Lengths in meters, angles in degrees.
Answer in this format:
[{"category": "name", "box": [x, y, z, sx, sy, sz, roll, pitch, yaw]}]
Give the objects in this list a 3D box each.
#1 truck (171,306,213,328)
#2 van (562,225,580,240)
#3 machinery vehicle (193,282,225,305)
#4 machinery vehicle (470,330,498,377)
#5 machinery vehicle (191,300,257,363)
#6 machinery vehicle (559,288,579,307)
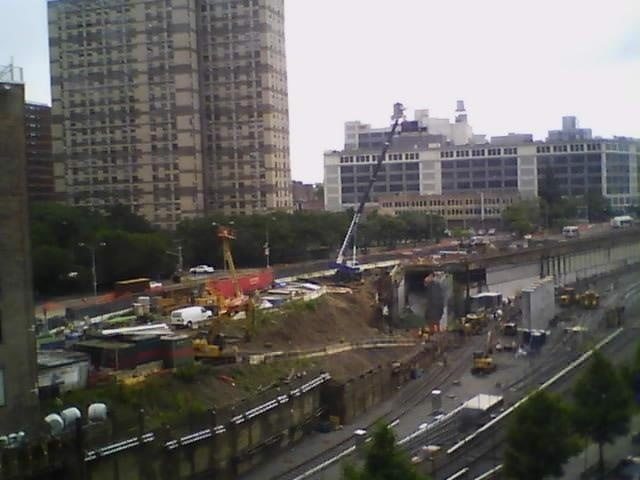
[{"category": "truck", "box": [-10.638, 6.425, 78.228, 1.476, 1.136, 2.940, 7, 13, 42]}, {"category": "van", "box": [31.908, -0.788, 120.007, 1.479, 1.397, 2.433, 3, 14, 25]}, {"category": "machinery vehicle", "box": [-9.362, 4.800, 81.410, 1.562, 1.464, 2.694, -1, -1, 7]}, {"category": "machinery vehicle", "box": [14.129, 9.504, 80.916, 1.295, 2.316, 4.461, 4, 19, 19]}, {"category": "machinery vehicle", "box": [-8.298, 8.028, 73.389, 4.010, 4.748, 4.061, -3, 3, 13]}, {"category": "machinery vehicle", "box": [24.128, 5.447, 91.962, 1.401, 0.902, 2.402, 2, 14, 24]}]
